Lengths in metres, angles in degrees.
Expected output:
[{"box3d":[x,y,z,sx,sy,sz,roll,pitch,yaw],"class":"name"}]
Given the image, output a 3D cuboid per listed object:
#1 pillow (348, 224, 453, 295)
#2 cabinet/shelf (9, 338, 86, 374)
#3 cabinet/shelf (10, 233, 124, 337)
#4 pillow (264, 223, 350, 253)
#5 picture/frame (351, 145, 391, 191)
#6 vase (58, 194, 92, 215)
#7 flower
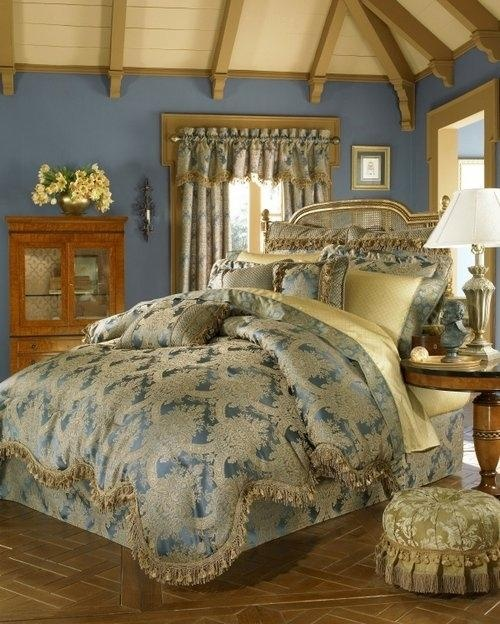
[{"box3d":[0.925,-0.275,3.450,0.060,0.381,0.651,-33,24,-28],"class":"pillow"},{"box3d":[-1.334,0.281,3.623,0.417,0.369,0.141,-1,0,-18],"class":"cabinet/shelf"},{"box3d":[-1.552,-0.236,4.661,0.970,0.982,0.371,0,2,-11],"class":"cabinet/shelf"},{"box3d":[0.395,-0.533,4.112,0.446,0.146,0.290,7,13,40],"class":"pillow"},{"box3d":[1.241,-1.511,5.886,0.519,0.515,0.055,-1,4,-1],"class":"picture/frame"},{"box3d":[-1.522,-0.908,4.877,0.196,0.126,0.191,2,3,22],"class":"vase"},{"box3d":[-1.572,-1.080,5.056,0.657,0.403,0.547,-3,9,-13],"class":"flower"}]
